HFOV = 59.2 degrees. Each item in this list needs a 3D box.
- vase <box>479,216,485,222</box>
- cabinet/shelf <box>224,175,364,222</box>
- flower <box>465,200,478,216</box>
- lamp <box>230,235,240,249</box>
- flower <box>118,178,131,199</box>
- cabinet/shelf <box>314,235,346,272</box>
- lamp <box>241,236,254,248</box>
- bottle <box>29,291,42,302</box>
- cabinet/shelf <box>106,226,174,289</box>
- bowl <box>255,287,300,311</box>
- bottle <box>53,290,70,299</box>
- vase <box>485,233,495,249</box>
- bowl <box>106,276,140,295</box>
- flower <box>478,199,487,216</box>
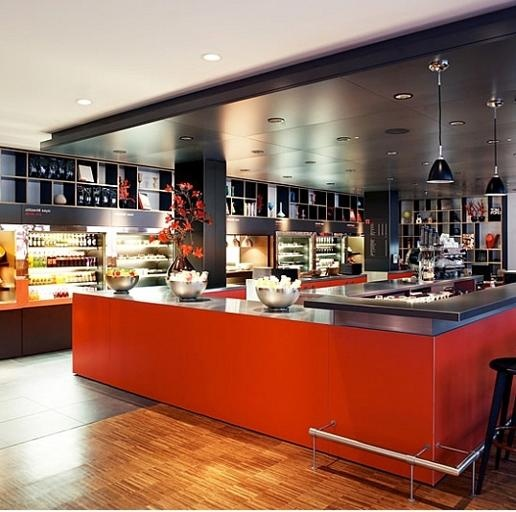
[{"bbox_3d":[6.521,-1.092,13.264,0.177,0.133,0.215,0,-1,15],"label":"vase"},{"bbox_3d":[0.998,-1.282,11.096,0.413,0.792,5.038,-1,-1,41],"label":"cabinet/shelf"},{"bbox_3d":[6.336,-1.377,13.401,0.422,0.672,0.151,-1,0,21],"label":"flower"},{"bbox_3d":[-0.495,-0.306,9.988,0.096,0.200,0.303,-1,-1,24],"label":"lamp"},{"bbox_3d":[-2.284,-1.142,7.798,0.273,0.306,0.134,-2,4,42],"label":"flower"},{"bbox_3d":[1.804,-0.089,11.604,0.366,0.864,1.125,-3,-4,45],"label":"cabinet/shelf"},{"bbox_3d":[-0.273,-0.334,10.269,0.260,0.392,0.343,-1,5,-24],"label":"lamp"},{"bbox_3d":[-3.282,0.602,6.698,0.147,0.113,0.140,1,0,0],"label":"bottle"},{"bbox_3d":[-1.910,-0.003,7.190,1.294,1.001,0.403,0,-2,-41],"label":"cabinet/shelf"},{"bbox_3d":[0.165,0.364,3.901,0.355,0.161,0.244,-1,0,8],"label":"bowl"},{"bbox_3d":[-3.050,0.586,7.068,0.200,0.152,0.127,1,5,-27],"label":"bottle"},{"bbox_3d":[6.740,-0.428,13.176,0.280,0.459,0.246,-1,0,24],"label":"vase"},{"bbox_3d":[-1.581,0.343,5.330,0.287,0.122,0.253,0,-5,3],"label":"bowl"},{"bbox_3d":[6.600,-1.414,13.335,0.207,0.568,0.078,-1,0,18],"label":"flower"}]
